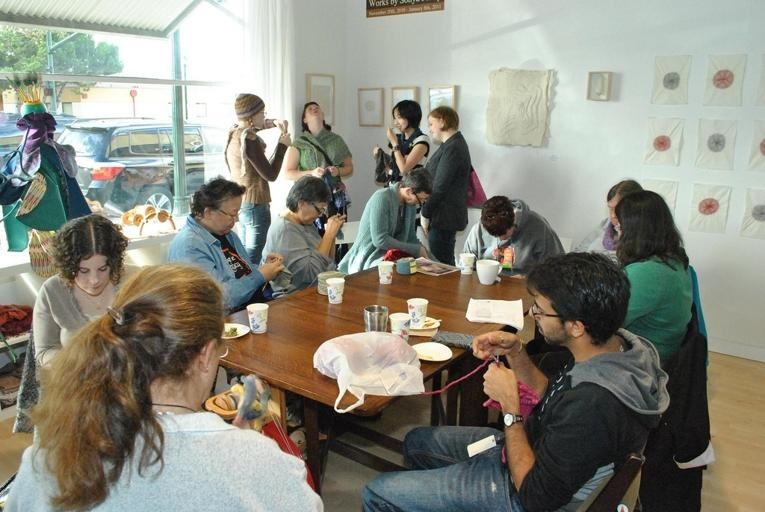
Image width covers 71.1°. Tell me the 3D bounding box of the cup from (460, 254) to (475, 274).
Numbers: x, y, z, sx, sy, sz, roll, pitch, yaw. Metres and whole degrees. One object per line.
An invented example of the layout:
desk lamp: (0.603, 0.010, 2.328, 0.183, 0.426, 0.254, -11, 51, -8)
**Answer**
cup: (0.556, 0.048, 3.557, 0.115, 0.129, 0.114, 0, 10, 0)

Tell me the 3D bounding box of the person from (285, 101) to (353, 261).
person: (-0.523, -0.623, 5.074, 0.657, 1.623, 0.488, -12, 23, -19)

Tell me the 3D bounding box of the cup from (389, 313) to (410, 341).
cup: (0.086, 0.336, 2.588, 0.114, 0.119, 0.114, -1, 10, 0)

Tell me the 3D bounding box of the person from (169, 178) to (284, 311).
person: (-0.969, -0.046, 3.330, 0.613, 0.834, 0.757, 7, 18, 12)

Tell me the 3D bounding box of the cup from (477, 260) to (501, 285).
cup: (0.651, 0.102, 3.349, 0.127, 0.114, 0.158, -4, 5, -30)

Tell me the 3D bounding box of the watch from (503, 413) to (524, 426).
watch: (0.499, 0.623, 2.035, 0.061, 0.042, 0.063, 0, -18, -3)

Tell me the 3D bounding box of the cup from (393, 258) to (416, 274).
cup: (0.144, 0.065, 3.519, 0.121, 0.102, 0.088, -13, 23, -35)

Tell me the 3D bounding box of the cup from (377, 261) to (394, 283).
cup: (0.020, 0.102, 3.282, 0.119, 0.125, 0.118, -1, 22, 0)

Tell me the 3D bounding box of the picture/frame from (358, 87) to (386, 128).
picture/frame: (-0.103, -1.601, 5.716, 0.424, 0.525, 0.066, 3, 7, 37)

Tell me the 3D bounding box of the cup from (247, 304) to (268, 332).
cup: (-0.622, 0.295, 2.670, 0.127, 0.127, 0.127, 0, 9, 0)

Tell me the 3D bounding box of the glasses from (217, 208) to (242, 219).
glasses: (-0.926, -0.257, 3.182, 0.073, 0.023, 0.074, 14, 15, 21)

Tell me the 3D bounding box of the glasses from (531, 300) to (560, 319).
glasses: (0.613, 0.206, 2.031, 0.074, 0.024, 0.072, 3, 15, -17)

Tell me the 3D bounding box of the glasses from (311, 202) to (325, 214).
glasses: (-0.420, -0.310, 3.449, 0.063, 0.019, 0.062, 39, 21, 24)

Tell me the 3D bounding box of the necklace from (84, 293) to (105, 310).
necklace: (-1.449, 0.225, 2.677, 0.084, 0.086, 0.043, 0, -2, -25)

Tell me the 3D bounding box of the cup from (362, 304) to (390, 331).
cup: (-0.032, 0.305, 2.651, 0.117, 0.114, 0.116, 0, 24, 0)

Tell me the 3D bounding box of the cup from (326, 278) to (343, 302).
cup: (-0.261, 0.191, 3.034, 0.120, 0.122, 0.119, 0, 10, 0)

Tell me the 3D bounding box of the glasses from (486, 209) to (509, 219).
glasses: (0.753, -0.273, 3.499, 0.144, 0.043, 0.045, 0, 12, -7)

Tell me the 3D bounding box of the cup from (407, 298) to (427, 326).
cup: (0.178, 0.286, 2.778, 0.115, 0.123, 0.119, 0, 5, 0)
